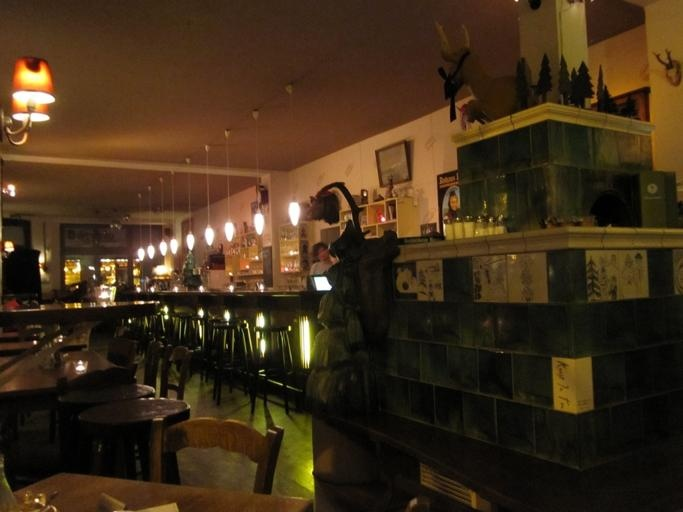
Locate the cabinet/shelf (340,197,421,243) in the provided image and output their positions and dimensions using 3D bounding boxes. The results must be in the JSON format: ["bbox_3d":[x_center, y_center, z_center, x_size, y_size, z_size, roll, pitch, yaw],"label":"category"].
[{"bbox_3d":[0.710,-0.553,8.928,0.362,0.530,1.064,-3,-2,-34],"label":"cabinet/shelf"}]

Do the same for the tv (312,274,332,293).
[{"bbox_3d":[-0.197,0.280,5.953,0.247,0.246,0.090,-2,-11,44],"label":"tv"}]

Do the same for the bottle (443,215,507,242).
[{"bbox_3d":[0.710,-0.152,3.269,0.343,0.105,0.105,-5,-1,34],"label":"bottle"}]

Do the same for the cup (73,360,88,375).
[{"bbox_3d":[-2.104,0.905,4.877,0.110,0.096,0.116,0,-6,0],"label":"cup"}]
